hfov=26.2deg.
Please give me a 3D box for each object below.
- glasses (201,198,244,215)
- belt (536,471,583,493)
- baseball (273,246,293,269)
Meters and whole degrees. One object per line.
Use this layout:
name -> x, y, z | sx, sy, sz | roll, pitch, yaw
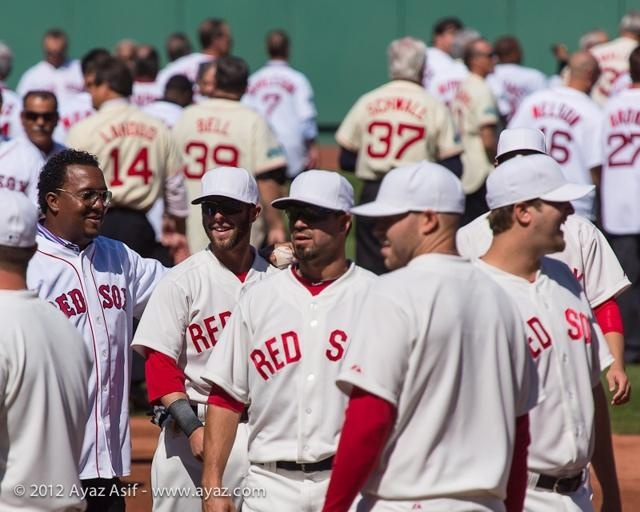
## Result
glasses -> -0.534, -0.254, 7.401 | 0.225, 0.084, 0.075 | 1, -2, 11
belt -> 1.169, 1.116, 6.718 | 0.250, 0.103, 0.045 | 2, -1, -19
baseball -> -0.202, 0.018, 7.488 | 0.096, 0.106, 0.057 | 4, -15, -11
